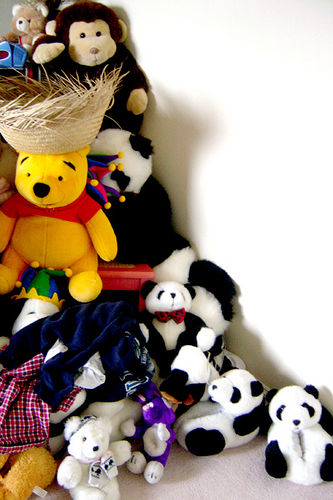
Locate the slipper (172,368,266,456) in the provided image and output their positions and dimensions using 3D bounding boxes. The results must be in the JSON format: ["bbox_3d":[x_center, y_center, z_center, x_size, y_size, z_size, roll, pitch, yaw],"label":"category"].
[{"bbox_3d":[0.148,0.431,1.217,0.277,0.216,0.177,-5,26,-26],"label":"slipper"}]

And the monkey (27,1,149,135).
[{"bbox_3d":[-0.268,-0.606,1.525,0.394,0.429,0.304,-11,33,-19],"label":"monkey"}]

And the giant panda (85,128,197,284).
[{"bbox_3d":[-0.083,-0.120,1.612,0.531,0.566,0.357,6,-11,-29],"label":"giant panda"}]

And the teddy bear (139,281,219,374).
[{"bbox_3d":[0.031,0.233,1.299,0.255,0.252,0.172,-10,2,-9],"label":"teddy bear"}]

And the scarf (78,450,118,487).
[{"bbox_3d":[-0.156,0.486,1.007,0.067,0.078,0.089,26,-20,-34],"label":"scarf"}]

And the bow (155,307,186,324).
[{"bbox_3d":[0.012,0.196,1.340,0.095,0.062,0.052,8,37,-2],"label":"bow"}]

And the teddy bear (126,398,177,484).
[{"bbox_3d":[-0.037,0.458,1.104,0.111,0.194,0.128,9,-4,-38],"label":"teddy bear"}]

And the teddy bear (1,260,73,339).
[{"bbox_3d":[-0.360,0.137,1.207,0.148,0.114,0.212,17,71,-9],"label":"teddy bear"}]

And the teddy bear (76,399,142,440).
[{"bbox_3d":[-0.126,0.435,1.150,0.119,0.086,0.225,24,-9,7],"label":"teddy bear"}]

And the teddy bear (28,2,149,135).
[{"bbox_3d":[-0.255,-0.603,1.553,0.423,0.454,0.324,-11,33,-19],"label":"teddy bear"}]

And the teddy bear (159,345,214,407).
[{"bbox_3d":[0.034,0.363,1.242,0.140,0.178,0.103,25,32,19],"label":"teddy bear"}]

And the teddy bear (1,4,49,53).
[{"bbox_3d":[-0.451,-0.736,1.453,0.189,0.170,0.220,-11,28,-21],"label":"teddy bear"}]
